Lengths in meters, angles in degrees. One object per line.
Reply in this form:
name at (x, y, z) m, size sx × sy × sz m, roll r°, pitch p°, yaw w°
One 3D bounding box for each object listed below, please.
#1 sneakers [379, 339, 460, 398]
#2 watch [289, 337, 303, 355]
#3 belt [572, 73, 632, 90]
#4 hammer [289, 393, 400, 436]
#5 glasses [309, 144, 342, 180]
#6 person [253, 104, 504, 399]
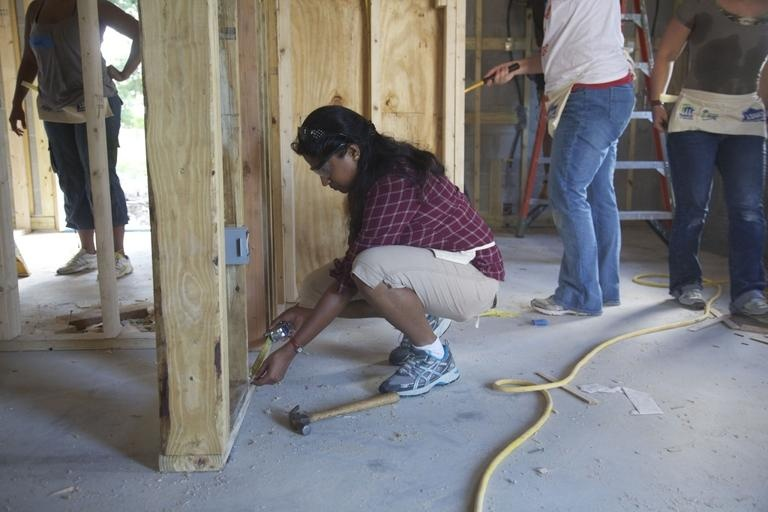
sneakers at (0.174, 0.516, 2.994) m, size 0.376 × 0.185 × 0.129 m, roll -14°, pitch 13°, yaw -30°
watch at (-0.359, 0.361, 2.720) m, size 0.051 × 0.066 × 0.027 m, roll -5°, pitch 6°, yaw -9°
belt at (1.174, -0.941, 3.579) m, size 0.309 × 0.071 × 0.055 m, roll -4°, pitch 6°, yaw -1°
hammer at (-0.169, 0.643, 2.829) m, size 0.491 × 0.094 × 0.177 m, roll -7°, pitch 7°, yaw -25°
glasses at (-0.232, -0.405, 2.786) m, size 0.119 × 0.036 × 0.114 m, roll -45°, pitch 0°, yaw -8°
person at (0.003, -0.027, 2.981) m, size 1.103 × 1.275 × 0.384 m, roll -6°, pitch 7°, yaw -16°
